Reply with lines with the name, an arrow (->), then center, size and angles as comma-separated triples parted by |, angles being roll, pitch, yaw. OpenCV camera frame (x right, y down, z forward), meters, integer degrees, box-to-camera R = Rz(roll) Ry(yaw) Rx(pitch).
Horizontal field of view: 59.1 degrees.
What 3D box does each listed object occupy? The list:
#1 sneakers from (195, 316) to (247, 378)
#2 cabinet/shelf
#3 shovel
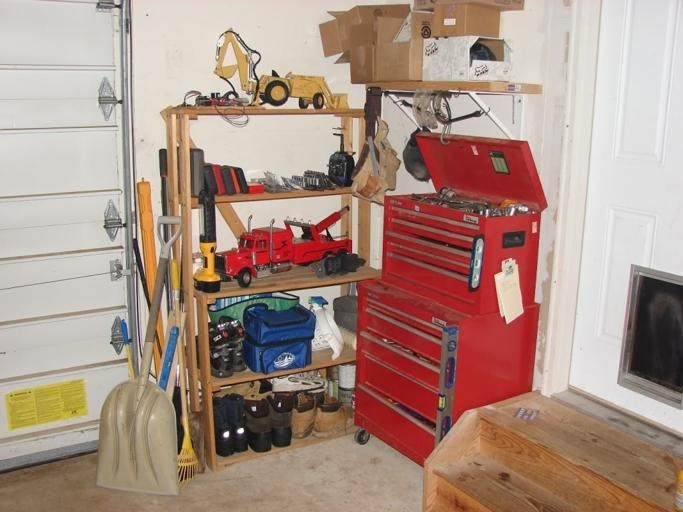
sneakers -> -0.655, 0.499, 3.429 | 0.219, 0.277, 0.281 | -10, 22, -31
cabinet/shelf -> -0.326, 0.071, 3.624 | 1.340, 1.965, 0.818 | -8, 16, -17
shovel -> -1.030, 0.535, 3.120 | 0.483, 1.431, 0.123 | 10, 8, -21
